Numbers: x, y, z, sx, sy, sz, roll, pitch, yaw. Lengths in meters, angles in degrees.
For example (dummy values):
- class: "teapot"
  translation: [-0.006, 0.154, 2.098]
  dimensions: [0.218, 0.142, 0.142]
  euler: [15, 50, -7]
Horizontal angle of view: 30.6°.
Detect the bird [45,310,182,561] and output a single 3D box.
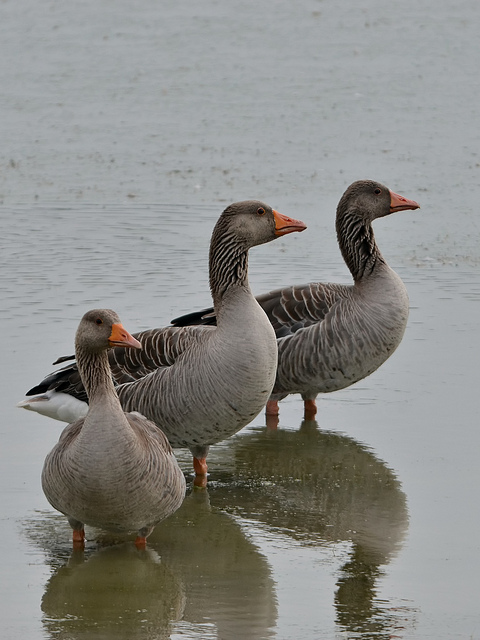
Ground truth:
- class: "bird"
  translation: [-0.719, 0.726, 5.058]
  dimensions: [0.718, 1.529, 0.658]
  euler: [-9, 18, -34]
